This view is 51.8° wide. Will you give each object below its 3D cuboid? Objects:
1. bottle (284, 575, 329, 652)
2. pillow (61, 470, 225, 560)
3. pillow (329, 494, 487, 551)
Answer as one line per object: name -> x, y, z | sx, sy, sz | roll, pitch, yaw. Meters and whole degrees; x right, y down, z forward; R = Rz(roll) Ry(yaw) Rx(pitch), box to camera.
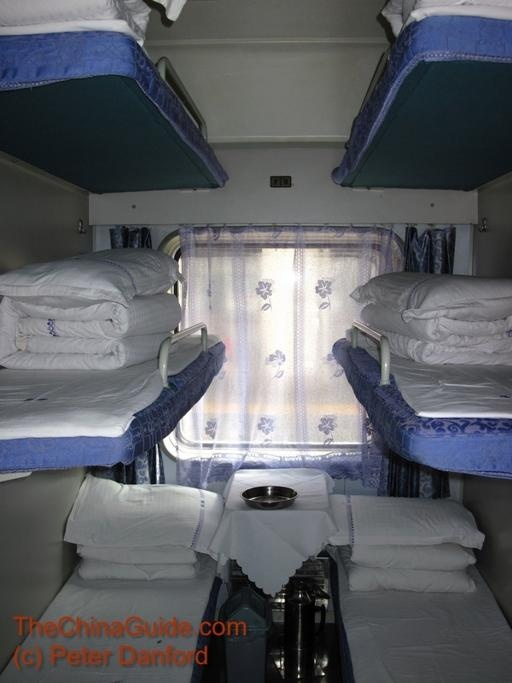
bottle -> 0.307, 1.710, 3.289 | 0.255, 0.504, 0.466 | 4, 15, 9
pillow -> -0.670, 1.041, 3.186 | 0.945, 0.170, 0.466 | 3, 15, 6
pillow -> 0.873, 1.055, 3.087 | 0.716, 0.122, 0.429 | 0, 8, -2
